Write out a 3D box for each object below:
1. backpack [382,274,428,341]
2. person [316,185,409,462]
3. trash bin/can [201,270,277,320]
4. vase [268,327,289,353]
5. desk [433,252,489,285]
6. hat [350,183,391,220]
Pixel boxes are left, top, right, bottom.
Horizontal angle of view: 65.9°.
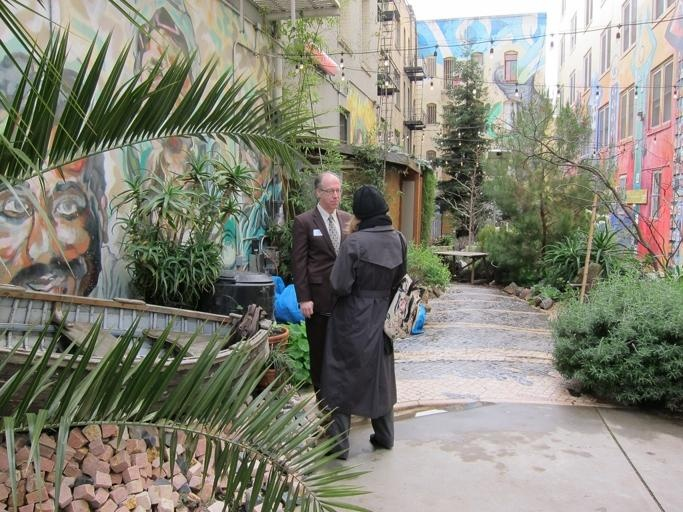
[{"bbox_3d":[0.400,0.330,3.952,0.105,0.460,0.427,13,-8,35],"label":"backpack"},{"bbox_3d":[0.162,0.379,3.842,0.600,1.793,0.379,0,4,6],"label":"person"},{"bbox_3d":[-1.074,0.490,5.894,0.704,0.742,0.772,0,1,23],"label":"trash bin/can"},{"bbox_3d":[-0.591,0.775,4.979,0.166,0.149,0.182,0,0,-3],"label":"vase"},{"bbox_3d":[3.651,0.259,15.934,1.361,0.903,3.376,1,4,12],"label":"desk"},{"bbox_3d":[0.216,-0.395,3.925,0.234,0.288,0.308,-9,-2,35],"label":"hat"}]
